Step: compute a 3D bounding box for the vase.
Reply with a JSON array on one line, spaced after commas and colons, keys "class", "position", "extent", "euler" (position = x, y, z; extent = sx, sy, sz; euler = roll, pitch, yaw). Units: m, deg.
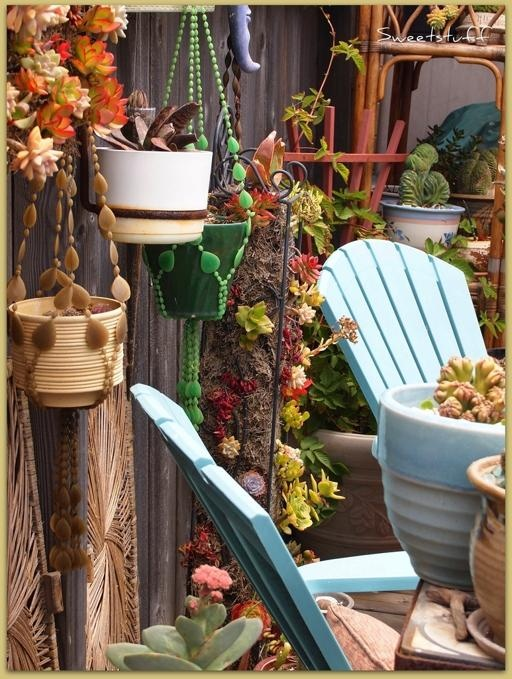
[{"class": "vase", "position": [-0.195, 0.013, 0.848], "extent": [0.139, 0.100, 0.133], "euler": [0, 6, -2]}]
